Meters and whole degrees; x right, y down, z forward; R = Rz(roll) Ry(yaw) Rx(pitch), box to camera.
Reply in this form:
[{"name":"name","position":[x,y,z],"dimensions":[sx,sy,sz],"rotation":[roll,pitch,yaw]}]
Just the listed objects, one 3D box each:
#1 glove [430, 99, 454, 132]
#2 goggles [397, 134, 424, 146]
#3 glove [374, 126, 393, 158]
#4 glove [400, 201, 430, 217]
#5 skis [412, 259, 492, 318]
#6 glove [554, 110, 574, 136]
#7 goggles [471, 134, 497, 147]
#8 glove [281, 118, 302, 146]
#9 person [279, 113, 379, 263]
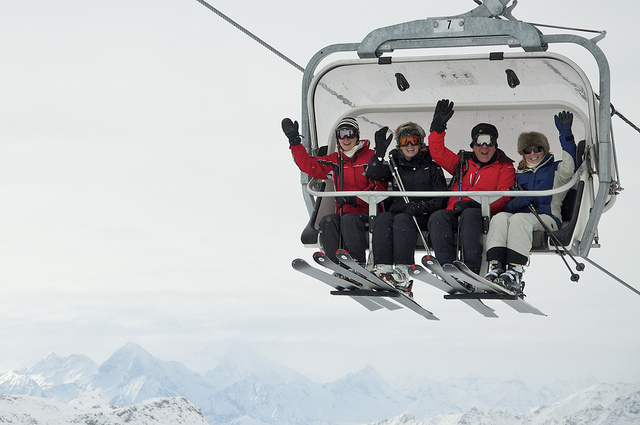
[{"name":"glove","position":[1.034,-0.819,9.049],"dimensions":[0.171,0.273,0.076],"rotation":[15,25,17]},{"name":"goggles","position":[0.784,-0.620,9.189],"dimensions":[0.219,0.100,0.115],"rotation":[-4,-6,-3]},{"name":"glove","position":[0.528,-0.597,8.996],"dimensions":[0.153,0.232,0.063],"rotation":[12,-12,-22]},{"name":"glove","position":[0.832,-0.030,8.978],"dimensions":[0.266,0.121,0.131],"rotation":[0,-8,-32]},{"name":"skis","position":[1.148,0.657,8.759],"dimensions":[0.294,0.176,1.046],"rotation":[16,-20,49]},{"name":"glove","position":[2.078,-0.777,9.044],"dimensions":[0.136,0.051,0.177],"rotation":[-19,-43,0]},{"name":"goggles","position":[1.429,-0.623,9.251],"dimensions":[0.202,0.120,0.089],"rotation":[-5,-6,6]},{"name":"glove","position":[-0.245,-0.695,9.192],"dimensions":[0.143,0.233,0.308],"rotation":[-4,-6,-2]},{"name":"person","position":[0.147,-0.188,9.172],"dimensions":[0.718,1.298,0.729],"rotation":[-7,-7,30]}]
